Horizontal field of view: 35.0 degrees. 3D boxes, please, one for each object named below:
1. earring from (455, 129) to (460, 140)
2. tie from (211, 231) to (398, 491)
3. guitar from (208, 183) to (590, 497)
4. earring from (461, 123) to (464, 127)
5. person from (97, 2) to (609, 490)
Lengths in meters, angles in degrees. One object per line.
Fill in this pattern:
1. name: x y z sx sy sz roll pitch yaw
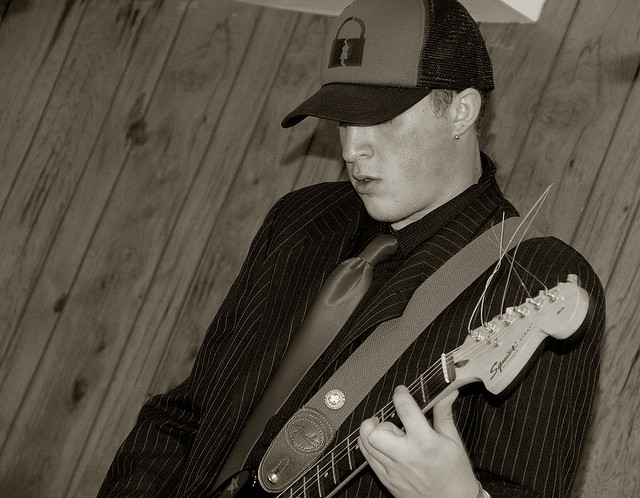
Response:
1. earring: 0.374 -0.310 2.744 0.005 0.014 0.025 12 104 44
2. tie: -0.027 0.326 2.750 0.091 0.075 0.726 24 80 27
3. guitar: 0.252 0.387 2.449 1.155 0.119 0.382 -47 63 8
4. earring: 0.387 -0.333 2.738 0.007 0.005 0.007 -6 73 7
5. person: 0.100 -0.002 2.871 0.900 0.684 1.470 21 97 42
